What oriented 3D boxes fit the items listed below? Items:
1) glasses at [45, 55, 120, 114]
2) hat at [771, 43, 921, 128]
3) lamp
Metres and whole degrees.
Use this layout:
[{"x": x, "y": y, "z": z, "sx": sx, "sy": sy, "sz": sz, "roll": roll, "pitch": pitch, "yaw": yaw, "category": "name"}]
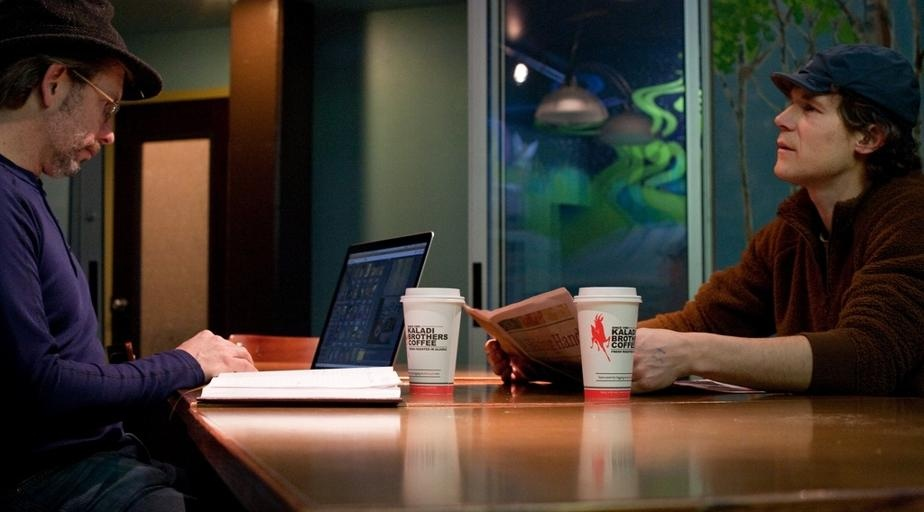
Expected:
[{"x": -1.264, "y": -0.563, "z": 2.531, "sx": 0.166, "sy": 0.047, "sz": 0.161, "roll": 30, "pitch": 0, "yaw": 12, "category": "glasses"}, {"x": 1.341, "y": -0.589, "z": 2.613, "sx": 0.424, "sy": 0.174, "sz": 0.271, "roll": 12, "pitch": 5, "yaw": 9, "category": "hat"}, {"x": 0.737, "y": -0.769, "z": 4.110, "sx": 0.662, "sy": 0.288, "sz": 0.319, "roll": 7, "pitch": 8, "yaw": 9, "category": "lamp"}]
